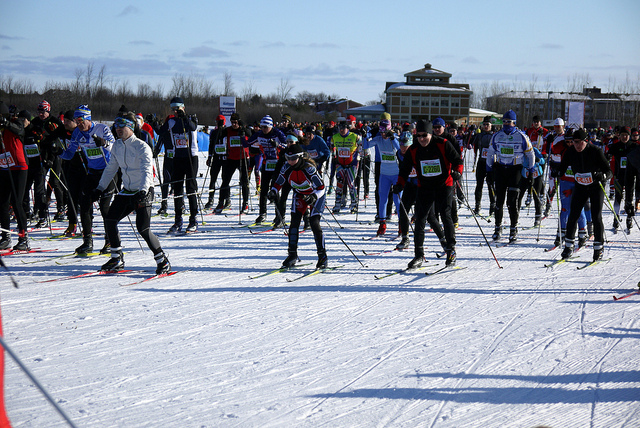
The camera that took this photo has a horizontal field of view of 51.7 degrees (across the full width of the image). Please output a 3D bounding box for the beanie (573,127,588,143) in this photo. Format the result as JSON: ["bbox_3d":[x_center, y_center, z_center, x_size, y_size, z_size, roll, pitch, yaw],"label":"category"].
[{"bbox_3d":[4.171,-1.274,10.661,0.196,0.193,0.191,0,6,14],"label":"beanie"}]

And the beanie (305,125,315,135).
[{"bbox_3d":[-0.236,-1.770,13.926,0.181,0.136,0.277,-1,8,6],"label":"beanie"}]

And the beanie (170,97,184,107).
[{"bbox_3d":[-2.881,-2.220,13.130,0.172,0.183,0.236,5,23,25],"label":"beanie"}]

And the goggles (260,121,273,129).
[{"bbox_3d":[-1.114,-1.843,13.584,0.135,0.050,0.181,-7,14,40],"label":"goggles"}]

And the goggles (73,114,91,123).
[{"bbox_3d":[-4.012,-1.598,11.063,0.226,0.125,0.161,-1,6,0],"label":"goggles"}]

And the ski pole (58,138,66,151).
[{"bbox_3d":[-4.940,-1.337,12.624,0.038,0.037,0.395,47,9,-49],"label":"ski pole"}]

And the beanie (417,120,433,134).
[{"bbox_3d":[1.627,-1.388,10.390,0.176,0.196,0.245,5,9,30],"label":"beanie"}]

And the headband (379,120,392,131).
[{"bbox_3d":[1.256,-1.742,12.988,0.256,0.128,0.345,-3,0,19],"label":"headband"}]

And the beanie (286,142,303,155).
[{"bbox_3d":[-0.394,-1.028,10.429,0.170,0.155,0.261,4,8,37],"label":"beanie"}]

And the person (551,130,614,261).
[{"bbox_3d":[4.374,-0.327,11.031,0.671,2.149,0.894,-1,6,-1],"label":"person"}]

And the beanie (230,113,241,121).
[{"bbox_3d":[-1.878,-2.150,14.635,0.154,0.111,0.202,5,10,13],"label":"beanie"}]

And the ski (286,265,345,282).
[{"bbox_3d":[-0.090,0.926,10.340,0.103,0.128,0.958,12,12,39],"label":"ski"}]

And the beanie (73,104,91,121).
[{"bbox_3d":[-4.025,-1.713,11.181,0.308,0.279,0.237,0,13,44],"label":"beanie"}]

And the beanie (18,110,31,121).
[{"bbox_3d":[-5.517,-1.838,12.256,0.182,0.152,0.187,22,11,10],"label":"beanie"}]

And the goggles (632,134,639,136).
[{"bbox_3d":[7.068,-1.782,14.897,0.103,0.042,0.179,2,7,25],"label":"goggles"}]

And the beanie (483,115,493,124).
[{"bbox_3d":[3.897,-2.237,15.488,0.161,0.204,0.502,0,15,18],"label":"beanie"}]

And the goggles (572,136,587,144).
[{"bbox_3d":[4.175,-1.205,10.671,0.148,0.060,0.132,2,0,-21],"label":"goggles"}]

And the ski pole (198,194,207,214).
[{"bbox_3d":[-2.833,-0.233,15.832,0.036,0.556,0.022,-33,-9,20],"label":"ski pole"}]

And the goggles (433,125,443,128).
[{"bbox_3d":[2.267,-1.724,12.940,0.174,0.051,0.180,2,7,25],"label":"goggles"}]

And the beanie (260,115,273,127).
[{"bbox_3d":[-1.148,-1.922,13.598,0.191,0.230,0.256,-11,40,-40],"label":"beanie"}]

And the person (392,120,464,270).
[{"bbox_3d":[1.768,-0.329,10.628,0.993,2.357,0.596,-1,6,7],"label":"person"}]

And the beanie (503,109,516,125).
[{"bbox_3d":[3.581,-1.868,12.518,0.195,0.228,0.276,5,41,6],"label":"beanie"}]

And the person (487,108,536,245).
[{"bbox_3d":[3.543,-0.722,12.516,0.588,2.455,0.932,-6,7,-38],"label":"person"}]

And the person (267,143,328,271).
[{"bbox_3d":[-0.373,-0.167,10.903,0.891,2.007,1.142,-2,6,-7],"label":"person"}]

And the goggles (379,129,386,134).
[{"bbox_3d":[1.214,-1.639,13.050,0.100,0.048,0.120,-1,-2,40],"label":"goggles"}]

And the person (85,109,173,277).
[{"bbox_3d":[-2.911,-0.272,10.112,1.089,2.435,0.469,0,6,15],"label":"person"}]

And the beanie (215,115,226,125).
[{"bbox_3d":[-2.392,-2.261,15.807,0.242,0.139,0.350,-1,8,1],"label":"beanie"}]
